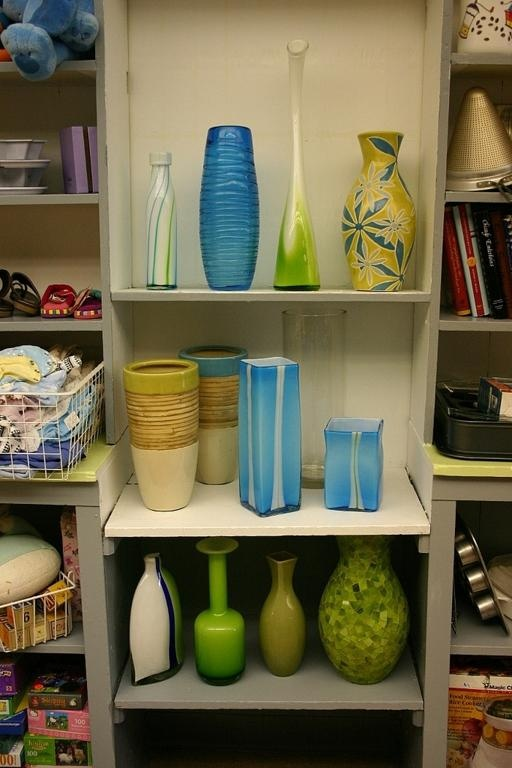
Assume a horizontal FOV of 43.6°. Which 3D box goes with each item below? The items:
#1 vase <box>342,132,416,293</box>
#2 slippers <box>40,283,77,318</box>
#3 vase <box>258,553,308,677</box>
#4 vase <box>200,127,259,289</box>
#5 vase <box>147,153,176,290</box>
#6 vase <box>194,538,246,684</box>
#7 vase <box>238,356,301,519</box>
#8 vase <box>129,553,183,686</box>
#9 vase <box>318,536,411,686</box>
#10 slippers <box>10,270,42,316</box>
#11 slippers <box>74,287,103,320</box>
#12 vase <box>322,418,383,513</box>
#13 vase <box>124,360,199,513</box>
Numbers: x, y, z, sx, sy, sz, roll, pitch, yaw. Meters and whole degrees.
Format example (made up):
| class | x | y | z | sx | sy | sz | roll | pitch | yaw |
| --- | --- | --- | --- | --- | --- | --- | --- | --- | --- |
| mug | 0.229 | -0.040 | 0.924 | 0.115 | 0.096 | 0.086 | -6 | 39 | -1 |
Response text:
| class | x | y | z | sx | sy | sz | roll | pitch | yaw |
| --- | --- | --- | --- | --- | --- | --- | --- | --- | --- |
| vase | 0.252 | -0.352 | 1.316 | 0.144 | 0.317 | 0.100 | 0 | 12 | 9 |
| slippers | -0.432 | -0.187 | 1.402 | 0.048 | 0.055 | 0.115 | 0 | 20 | -4 |
| vase | 0.053 | 0.489 | 1.340 | 0.092 | 0.254 | 0.065 | -2 | 12 | 0 |
| vase | -0.056 | -0.359 | 1.325 | 0.119 | 0.328 | 0.055 | -4 | 12 | -8 |
| vase | -0.205 | -0.340 | 1.355 | 0.065 | 0.278 | 0.040 | -5 | 12 | -12 |
| vase | -0.080 | 0.472 | 1.341 | 0.104 | 0.284 | 0.131 | -5 | 12 | -12 |
| vase | 0.025 | 0.106 | 1.269 | 0.125 | 0.302 | 0.085 | -2 | 12 | -1 |
| vase | -0.211 | 0.484 | 1.330 | 0.111 | 0.272 | 0.082 | -5 | 12 | -13 |
| vase | 0.229 | 0.454 | 1.353 | 0.167 | 0.308 | 0.175 | -4 | 3 | -16 |
| slippers | -0.522 | -0.222 | 1.449 | 0.063 | 0.056 | 0.140 | 1 | 34 | -17 |
| slippers | -0.359 | -0.168 | 1.379 | 0.036 | 0.051 | 0.117 | 0 | 9 | -7 |
| vase | 0.198 | 0.162 | 1.320 | 0.117 | 0.166 | 0.122 | 0 | 12 | 8 |
| vase | -0.189 | 0.103 | 1.313 | 0.160 | 0.293 | 0.159 | -9 | 13 | -42 |
